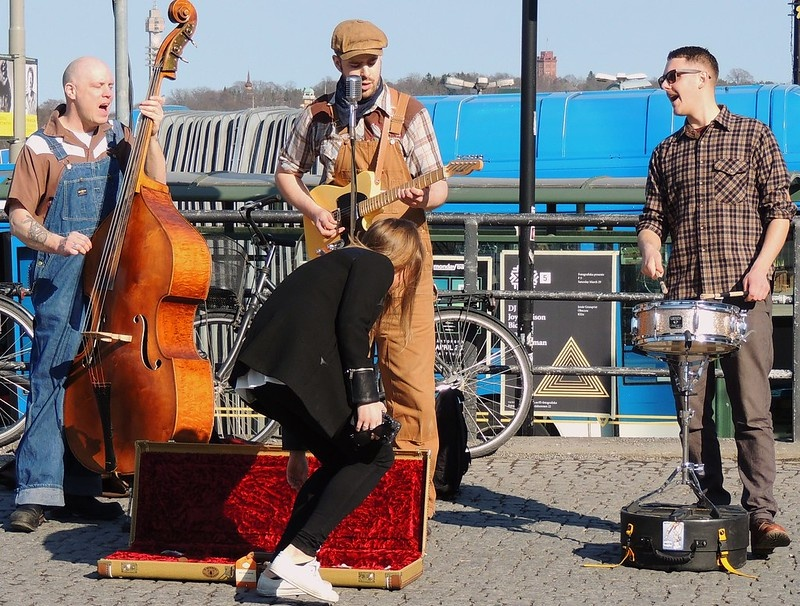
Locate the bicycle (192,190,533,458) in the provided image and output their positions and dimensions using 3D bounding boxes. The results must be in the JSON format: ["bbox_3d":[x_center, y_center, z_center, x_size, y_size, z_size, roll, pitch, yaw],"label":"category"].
[{"bbox_3d":[0.067,0.197,12.157,1.223,1.726,2.864,6,1,-19],"label":"bicycle"}]

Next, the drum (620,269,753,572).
[{"bbox_3d":[1.614,0.700,8.975,0.729,1.506,0.621,1,9,9],"label":"drum"}]

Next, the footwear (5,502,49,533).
[{"bbox_3d":[-2.231,1.279,9.420,0.112,0.116,0.252,2,5,-2],"label":"footwear"}]

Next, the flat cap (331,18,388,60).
[{"bbox_3d":[-0.243,-1.529,9.247,0.307,0.221,0.146,0,9,-1],"label":"flat cap"}]

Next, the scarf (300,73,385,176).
[{"bbox_3d":[-0.347,-1.044,9.526,0.461,0.587,0.184,15,4,32],"label":"scarf"}]

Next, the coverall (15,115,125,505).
[{"bbox_3d":[-2.039,0.115,9.510,0.861,1.995,0.368,1,-1,21],"label":"coverall"}]

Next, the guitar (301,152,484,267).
[{"bbox_3d":[-0.133,-0.617,9.229,1.132,0.489,0.126,-18,-3,15],"label":"guitar"}]

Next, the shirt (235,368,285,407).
[{"bbox_3d":[-0.757,0.441,8.357,0.244,0.167,0.121,33,-2,-14],"label":"shirt"}]

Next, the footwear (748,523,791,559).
[{"bbox_3d":[2.095,1.334,9.040,0.208,0.211,0.187,1,9,7],"label":"footwear"}]

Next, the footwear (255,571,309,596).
[{"bbox_3d":[-0.620,1.468,8.339,0.279,0.109,0.114,2,1,-2],"label":"footwear"}]
